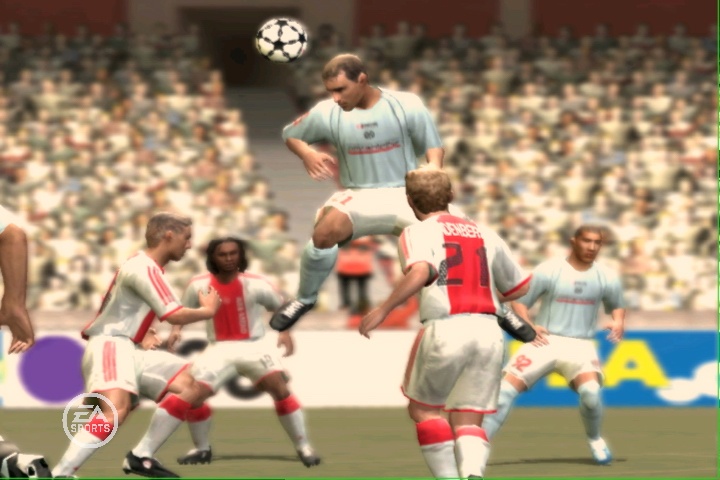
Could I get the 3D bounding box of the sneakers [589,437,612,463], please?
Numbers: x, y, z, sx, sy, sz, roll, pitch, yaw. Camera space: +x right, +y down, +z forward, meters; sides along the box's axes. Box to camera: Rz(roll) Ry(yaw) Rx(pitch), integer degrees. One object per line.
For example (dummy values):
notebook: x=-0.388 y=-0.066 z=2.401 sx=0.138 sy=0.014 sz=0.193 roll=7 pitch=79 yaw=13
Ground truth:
sneakers: x=2.572 y=2.167 z=15.426 sx=0.237 sy=0.249 sz=0.262 roll=-3 pitch=8 yaw=5
